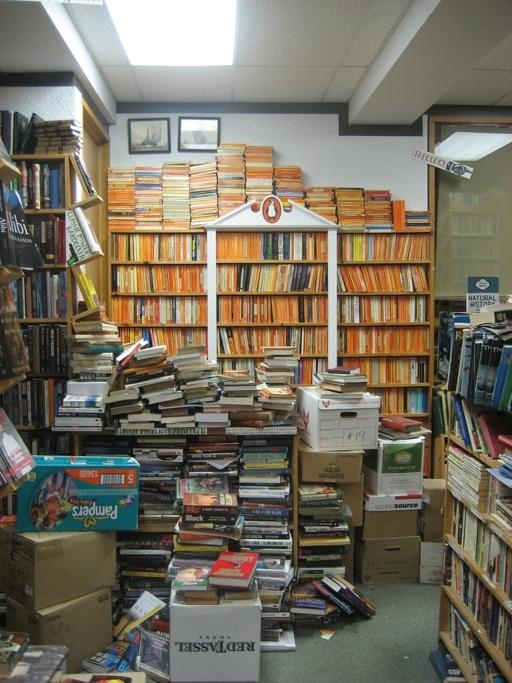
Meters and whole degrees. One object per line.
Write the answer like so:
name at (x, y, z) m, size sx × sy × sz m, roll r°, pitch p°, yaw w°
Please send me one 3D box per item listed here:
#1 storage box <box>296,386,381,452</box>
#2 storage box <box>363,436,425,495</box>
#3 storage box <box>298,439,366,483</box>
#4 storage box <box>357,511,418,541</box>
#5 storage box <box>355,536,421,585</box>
storage box at (0.429, 0.399, 3.063) m, size 0.297 × 0.252 × 0.414 m, roll 1°, pitch -1°, yaw -6°
storage box at (0.750, 0.666, 3.298) m, size 0.414 × 0.393 × 0.283 m, roll 0°, pitch 0°, yaw -4°
storage box at (0.369, 0.590, 2.899) m, size 0.213 × 0.128 × 0.210 m, roll 2°, pitch -2°, yaw 5°
storage box at (0.738, 1.017, 3.240) m, size 0.238 × 0.113 × 0.171 m, roll -1°, pitch 1°, yaw -2°
storage box at (0.740, 1.216, 3.178) m, size 0.278 × 0.170 × 0.278 m, roll 0°, pitch -6°, yaw 0°
